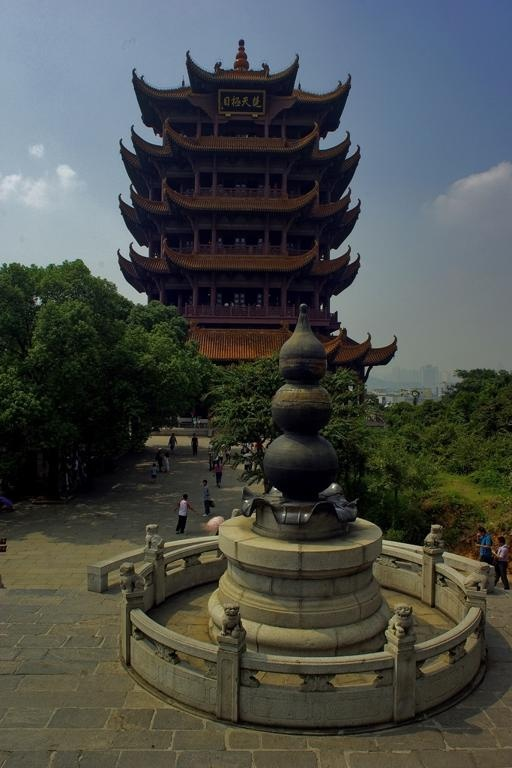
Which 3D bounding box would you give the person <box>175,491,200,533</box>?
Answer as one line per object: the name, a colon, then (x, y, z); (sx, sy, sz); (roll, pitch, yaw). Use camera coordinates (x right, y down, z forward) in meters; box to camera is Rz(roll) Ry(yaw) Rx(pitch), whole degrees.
person: (-1.797, 3.159, 17.560); (0.372, 1.067, 1.605); (0, 2, -6)
